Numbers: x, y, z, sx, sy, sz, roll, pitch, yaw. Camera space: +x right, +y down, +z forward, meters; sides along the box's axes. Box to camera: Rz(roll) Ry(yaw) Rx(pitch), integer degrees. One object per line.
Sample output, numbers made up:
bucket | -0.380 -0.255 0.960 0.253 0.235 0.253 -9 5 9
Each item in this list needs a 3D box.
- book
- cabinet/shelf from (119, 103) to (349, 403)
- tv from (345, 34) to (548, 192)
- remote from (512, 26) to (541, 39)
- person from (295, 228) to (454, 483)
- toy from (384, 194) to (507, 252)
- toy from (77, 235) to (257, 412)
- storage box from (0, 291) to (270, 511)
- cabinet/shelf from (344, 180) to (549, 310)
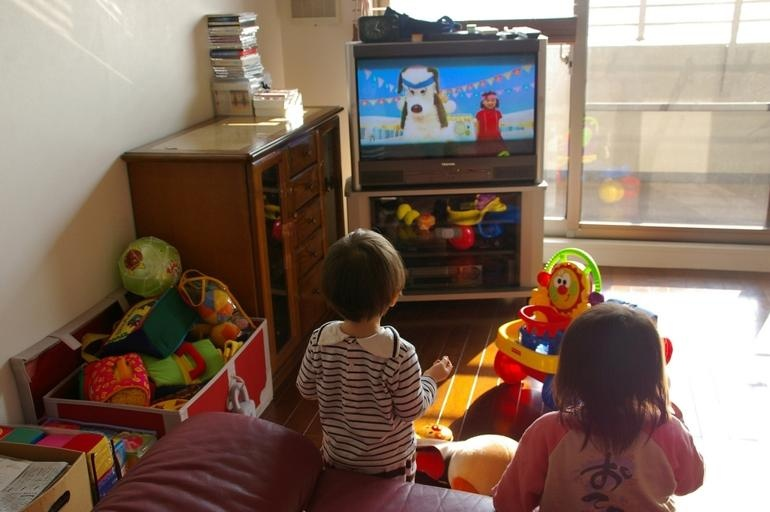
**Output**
book | -0.906 -1.240 3.932 0.651 0.751 0.781 1 22 2
cabinet/shelf | -0.613 -0.015 4.073 1.300 2.203 1.920 1 25 9
tv | 0.350 -0.948 3.855 1.250 0.867 0.727 -2 20 -3
remote | 0.865 -1.376 3.545 0.149 0.076 0.206 2 16 11
person | -0.035 0.560 2.199 0.539 1.304 0.461 5 17 21
toy | 0.416 -0.231 3.804 0.387 0.171 0.576 6 17 18
toy | -0.999 0.356 2.751 0.763 0.703 0.757 -3 19 12
storage box | -1.122 0.642 2.717 0.703 0.523 0.724 6 24 10
cabinet/shelf | 0.522 -0.228 4.092 1.375 0.861 0.787 -1 13 3
